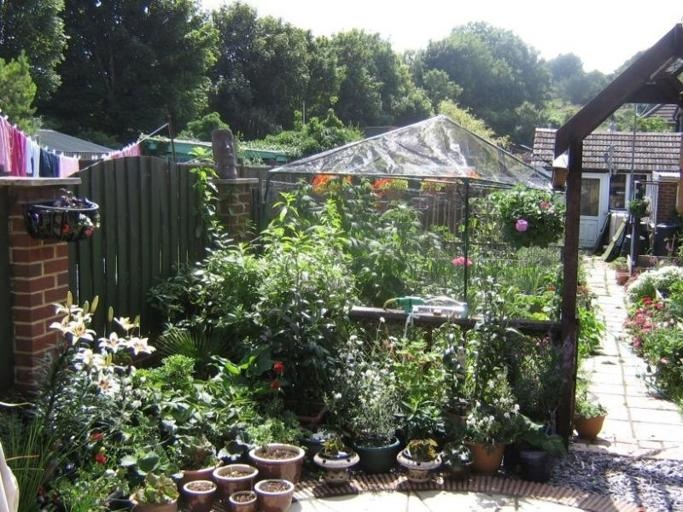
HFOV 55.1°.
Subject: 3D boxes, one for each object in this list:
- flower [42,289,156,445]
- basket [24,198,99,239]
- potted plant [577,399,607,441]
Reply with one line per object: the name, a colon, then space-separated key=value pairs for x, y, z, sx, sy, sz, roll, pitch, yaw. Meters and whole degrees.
flower: x=-1.692 y=0.712 z=4.607 sx=0.636 sy=0.911 sz=1.046 roll=1 pitch=4 yaw=-18
basket: x=-2.010 y=-0.278 z=4.607 sx=0.457 sy=0.287 sz=0.512 roll=6 pitch=13 yaw=-29
potted plant: x=2.247 y=1.461 z=5.850 sx=0.281 sy=0.336 sz=0.281 roll=1 pitch=-1 yaw=-34
